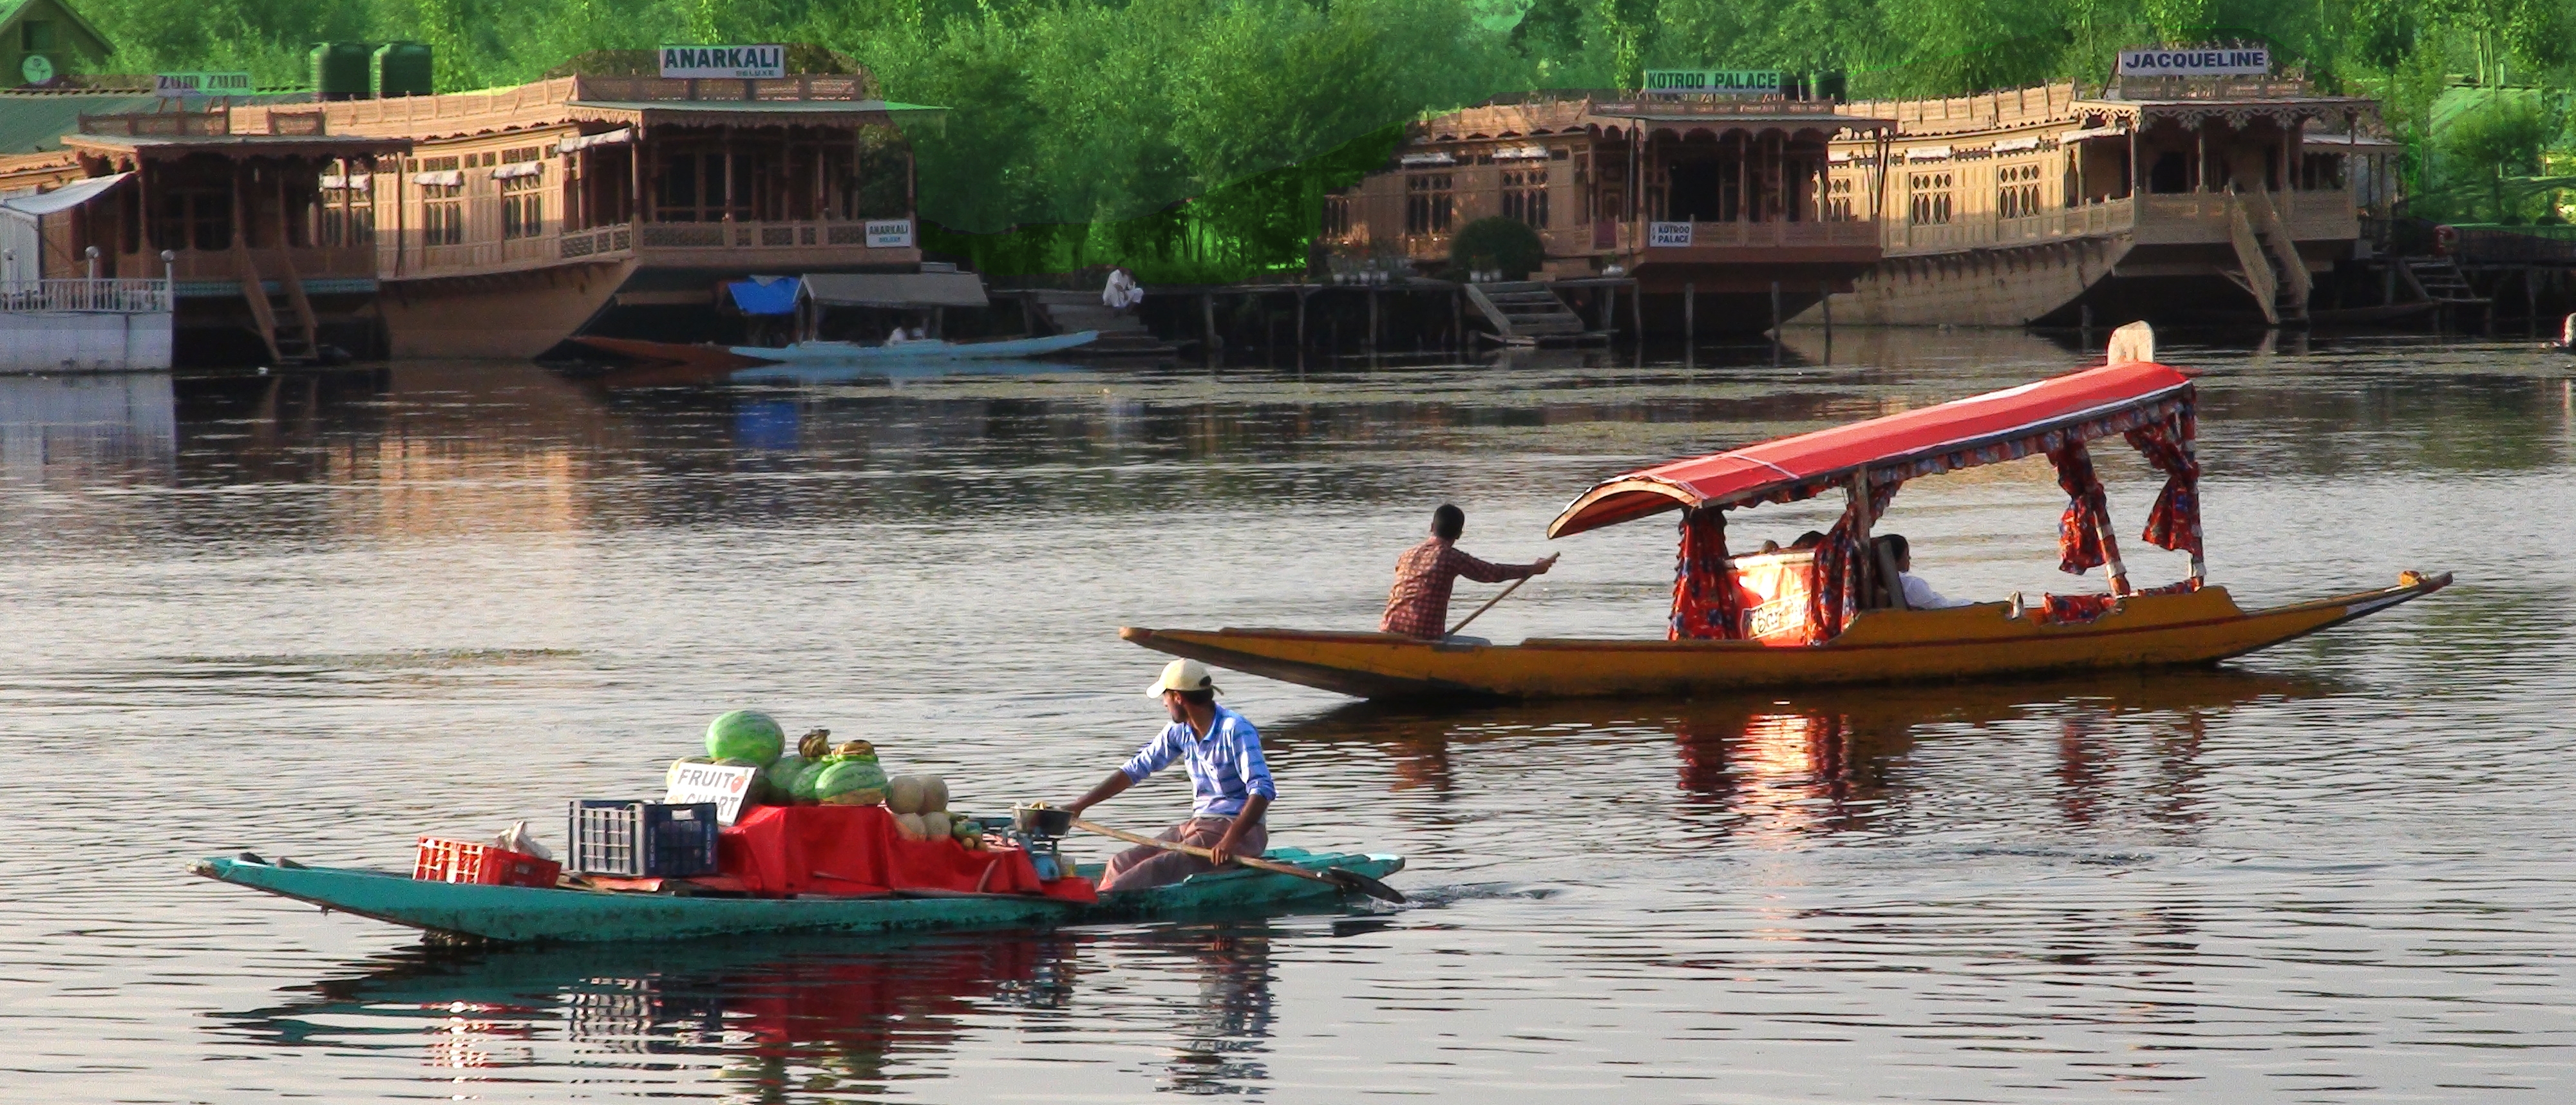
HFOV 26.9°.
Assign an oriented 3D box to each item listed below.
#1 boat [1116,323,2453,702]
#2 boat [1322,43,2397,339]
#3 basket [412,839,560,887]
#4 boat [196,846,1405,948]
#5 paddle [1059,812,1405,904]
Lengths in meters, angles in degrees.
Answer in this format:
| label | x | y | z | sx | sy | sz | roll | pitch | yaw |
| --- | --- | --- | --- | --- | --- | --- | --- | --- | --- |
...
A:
| label | x | y | z | sx | sy | sz | roll | pitch | yaw |
| --- | --- | --- | --- | --- | --- | --- | --- | --- | --- |
| boat | 14.246 | -0.460 | 140.679 | 26.919 | 8.170 | 1.339 | -2 | 5 | -5 |
| boat | 20.608 | -12.772 | 196.250 | 38.525 | 9.829 | 18.319 | -1 | 3 | 8 |
| basket | -20.156 | 7.841 | 134.630 | 2.033 | 0.646 | 2.046 | -1 | -3 | 44 |
| boat | -13.650 | 8.562 | 134.580 | 25.853 | 2.367 | 0.354 | -1 | 5 | -1 |
| paddle | -1.077 | 7.786 | 134.969 | 9.865 | 0.405 | 0.955 | 12 | 12 | -32 |
